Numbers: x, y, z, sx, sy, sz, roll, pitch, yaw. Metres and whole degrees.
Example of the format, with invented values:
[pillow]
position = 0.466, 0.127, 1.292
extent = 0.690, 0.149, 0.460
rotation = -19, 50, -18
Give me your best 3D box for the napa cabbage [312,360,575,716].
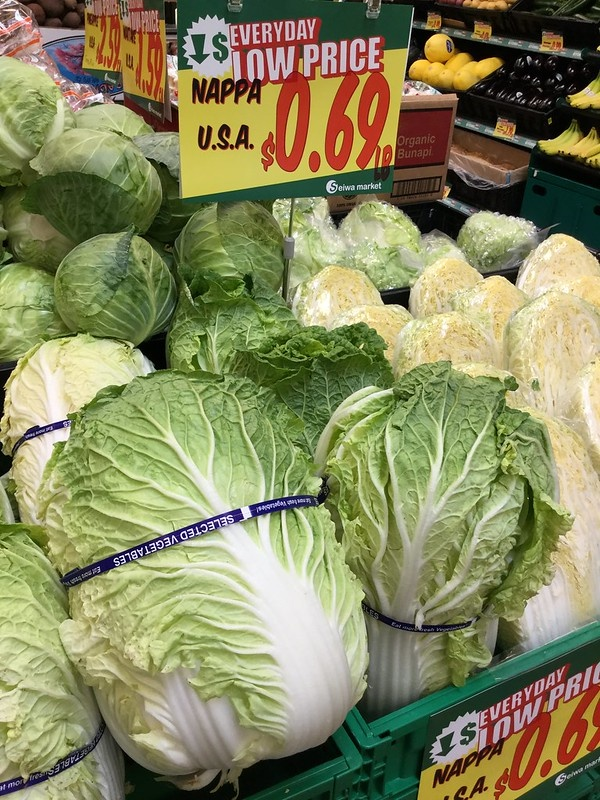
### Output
[napa cabbage]
position = 0.262, 0.256, 1.347
extent = 0.562, 0.805, 0.589
rotation = 0, 4, 7
